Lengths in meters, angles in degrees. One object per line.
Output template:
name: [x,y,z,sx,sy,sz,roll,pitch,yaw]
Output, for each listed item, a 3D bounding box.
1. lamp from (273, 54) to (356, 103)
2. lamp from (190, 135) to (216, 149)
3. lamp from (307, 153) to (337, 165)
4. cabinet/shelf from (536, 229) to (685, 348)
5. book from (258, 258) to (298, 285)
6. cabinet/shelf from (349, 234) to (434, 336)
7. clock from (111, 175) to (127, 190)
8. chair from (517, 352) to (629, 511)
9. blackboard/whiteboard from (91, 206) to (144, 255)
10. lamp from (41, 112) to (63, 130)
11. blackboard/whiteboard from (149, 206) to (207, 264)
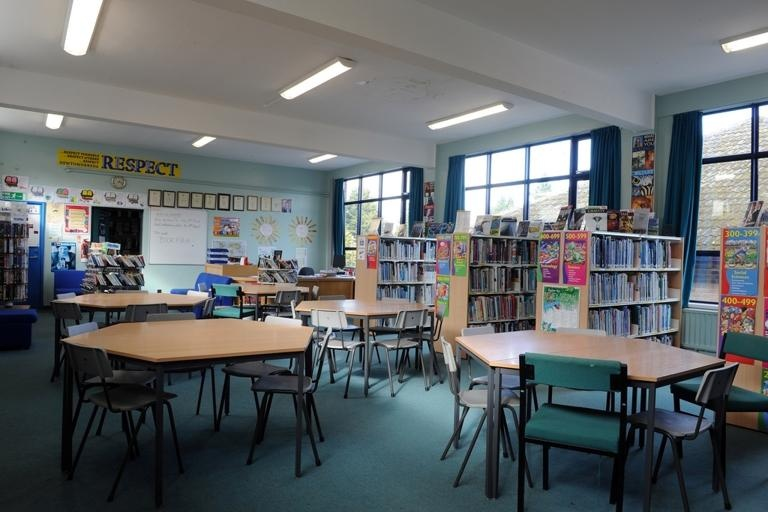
lamp: [-1.015,-2.718,7.923,0.335,0.445,1.538,-10,17,-39]
lamp: [-4.020,-2.532,11.654,0.462,0.250,1.396,-4,14,-22]
lamp: [-1.551,-2.476,13.287,0.597,0.214,1.084,-3,13,-19]
cabinet/shelf: [3.097,0.430,7.208,1.935,1.663,0.679,0,4,-34]
book: [-1.988,0.318,9.932,0.893,0.548,0.464,2,-5,-26]
cabinet/shelf: [0.168,0.486,8.939,1.995,1.754,0.670,1,-2,-34]
clock: [-6.229,-1.739,12.296,0.313,0.291,0.071,1,-2,-38]
chair: [1.587,1.501,4.482,0.894,1.337,0.624,5,14,14]
blackboard/whiteboard: [-6.204,-0.602,12.072,1.243,1.066,0.392,2,-3,-34]
lamp: [-6.273,-2.572,9.861,0.375,0.094,0.409,-13,-14,17]
blackboard/whiteboard: [-5.173,-0.513,12.948,1.539,1.435,0.154,3,-5,-39]
